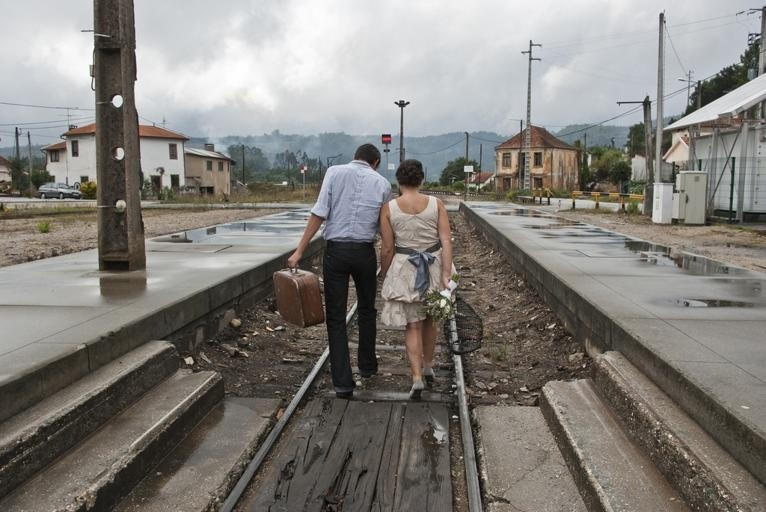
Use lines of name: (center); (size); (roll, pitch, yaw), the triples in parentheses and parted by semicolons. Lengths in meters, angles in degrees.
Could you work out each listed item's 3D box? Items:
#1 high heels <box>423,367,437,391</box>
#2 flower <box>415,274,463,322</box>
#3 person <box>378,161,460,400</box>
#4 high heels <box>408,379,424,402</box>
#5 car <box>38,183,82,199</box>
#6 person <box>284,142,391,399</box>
high heels: (0.554, 1.395, 6.748); (0.085, 0.267, 0.107); (-2, -7, 0)
flower: (0.675, 0.434, 6.406); (0.318, 0.515, 0.386); (15, -24, 31)
person: (0.395, 0.215, 6.369); (0.782, 2.424, 0.694); (0, 12, -1)
high heels: (0.388, 1.413, 6.269); (0.095, 0.283, 0.105); (1, 52, -6)
car: (-29.387, -5.773, 53.355); (3.329, 1.311, 2.429); (2, 13, 8)
person: (-0.360, 0.155, 6.437); (1.006, 2.659, 0.762); (-4, 13, -19)
